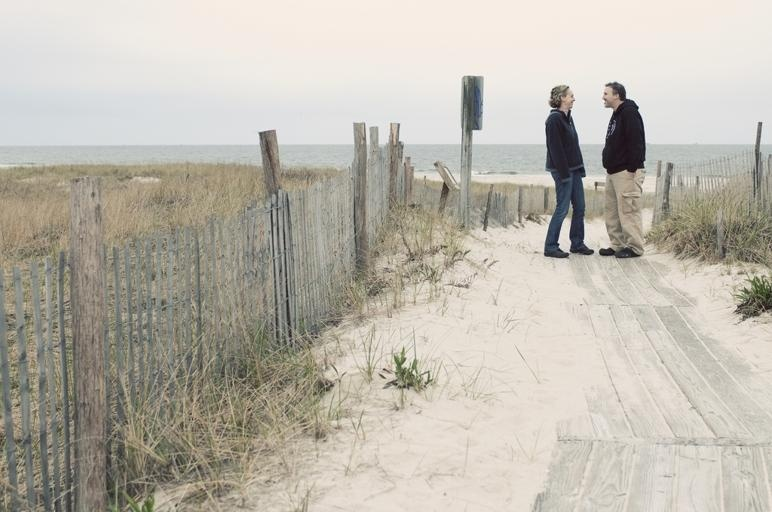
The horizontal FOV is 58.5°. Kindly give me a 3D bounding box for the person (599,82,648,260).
[{"bbox_3d":[3.637,-1.274,10.550,0.636,2.674,0.838,2,10,17],"label":"person"}]

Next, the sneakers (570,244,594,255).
[{"bbox_3d":[3.179,-0.123,11.218,0.366,0.218,0.154,2,6,10],"label":"sneakers"}]

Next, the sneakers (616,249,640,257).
[{"bbox_3d":[3.827,-0.078,10.874,0.310,0.140,0.160,2,5,3],"label":"sneakers"}]

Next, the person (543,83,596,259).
[{"bbox_3d":[2.777,-1.245,10.555,0.694,2.647,1.229,3,10,23],"label":"person"}]

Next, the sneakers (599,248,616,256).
[{"bbox_3d":[3.544,-0.063,11.088,0.269,0.131,0.103,5,6,0],"label":"sneakers"}]

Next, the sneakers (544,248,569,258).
[{"bbox_3d":[2.700,-0.055,10.955,0.377,0.182,0.138,2,4,25],"label":"sneakers"}]
